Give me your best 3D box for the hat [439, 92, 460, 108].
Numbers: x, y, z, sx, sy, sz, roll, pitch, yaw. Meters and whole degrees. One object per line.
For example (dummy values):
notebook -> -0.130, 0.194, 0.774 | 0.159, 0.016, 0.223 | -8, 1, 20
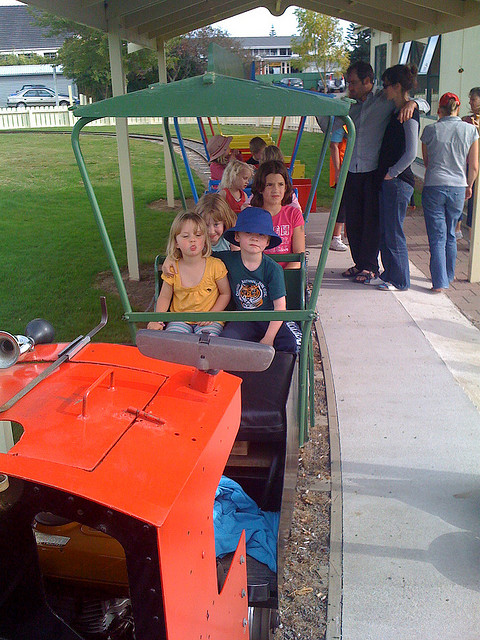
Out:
hat -> 2.042, -2.158, 5.270 | 0.170, 0.117, 0.234 | 7, 23, 20

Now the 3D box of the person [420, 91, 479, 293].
person -> 2.111, -1.299, 5.568 | 0.559, 1.945, 0.803 | 8, 25, 21

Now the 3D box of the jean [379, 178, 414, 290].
jean -> 1.564, -0.877, 5.538 | 0.384, 1.171, 0.346 | 15, 29, 35

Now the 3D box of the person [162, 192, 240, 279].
person -> -0.212, -0.422, 3.438 | 0.564, 0.738, 0.291 | -6, 28, -7

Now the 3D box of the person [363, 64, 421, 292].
person -> 1.527, -1.363, 5.400 | 0.481, 2.204, 0.529 | 7, 25, 21

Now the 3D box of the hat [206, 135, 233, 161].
hat -> -0.284, -2.208, 6.868 | 0.291, 0.301, 0.494 | -3, 22, -3

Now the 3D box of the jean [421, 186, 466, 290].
jean -> 2.078, -0.838, 5.561 | 0.429, 1.080, 0.422 | 2, 24, 8
